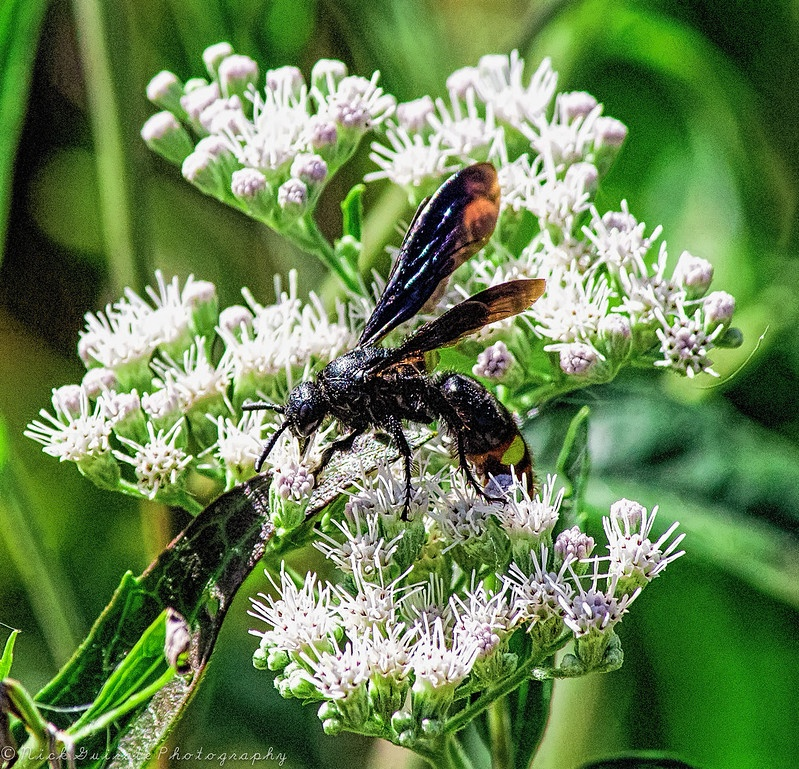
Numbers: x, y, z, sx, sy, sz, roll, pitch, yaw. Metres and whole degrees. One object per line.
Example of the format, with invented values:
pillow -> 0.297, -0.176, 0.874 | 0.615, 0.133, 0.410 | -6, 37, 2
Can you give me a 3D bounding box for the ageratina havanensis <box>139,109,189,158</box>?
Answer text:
ageratina havanensis -> -0.436, -0.456, 1.929 | 0.059, 0.108, 0.038 | -38, 38, -2
